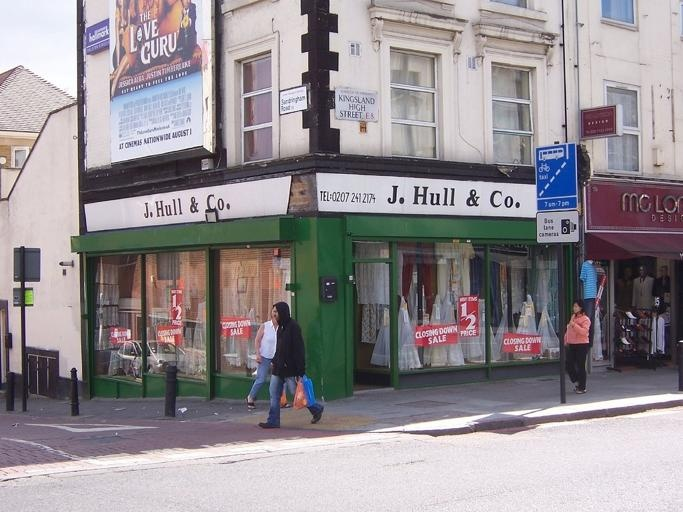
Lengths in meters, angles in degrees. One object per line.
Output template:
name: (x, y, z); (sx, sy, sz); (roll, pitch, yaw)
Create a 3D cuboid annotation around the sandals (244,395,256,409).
sandals: (-1.921, 3.075, 19.095); (0.121, 0.208, 0.443); (1, 1, -4)

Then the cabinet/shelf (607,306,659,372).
cabinet/shelf: (7.583, 2.283, 23.918); (1.160, 1.550, 0.788); (3, -25, 36)

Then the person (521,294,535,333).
person: (4.446, 1.463, 22.139); (0.467, 1.236, 0.321); (2, 32, 13)

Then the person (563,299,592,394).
person: (5.016, 1.937, 19.583); (0.444, 1.929, 0.831); (-1, 1, 0)

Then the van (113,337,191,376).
van: (-4.821, 2.673, 23.623); (0.939, 0.942, 2.214); (6, -14, -42)

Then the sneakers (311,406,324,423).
sneakers: (-0.469, 2.866, 16.887); (0.265, 0.443, 0.153); (3, 4, -16)
